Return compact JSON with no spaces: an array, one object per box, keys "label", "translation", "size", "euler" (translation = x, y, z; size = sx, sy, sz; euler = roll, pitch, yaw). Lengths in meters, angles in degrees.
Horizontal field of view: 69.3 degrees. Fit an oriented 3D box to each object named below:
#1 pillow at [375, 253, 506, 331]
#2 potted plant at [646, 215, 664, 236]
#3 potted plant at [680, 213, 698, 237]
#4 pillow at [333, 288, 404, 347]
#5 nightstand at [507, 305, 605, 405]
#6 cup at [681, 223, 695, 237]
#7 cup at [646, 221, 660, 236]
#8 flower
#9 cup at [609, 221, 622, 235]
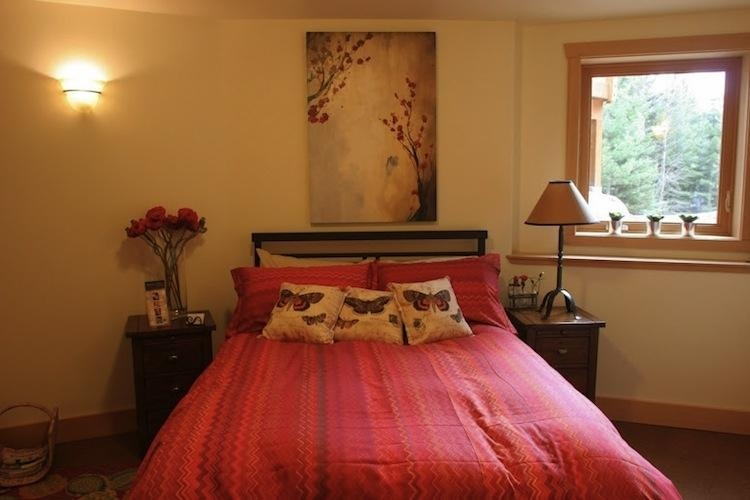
[{"label":"pillow","translation":[0.701,0.284,4.072],"size":[0.552,0.209,0.763],"euler":[3,26,9]},{"label":"potted plant","translation":[2.206,-0.204,4.304],"size":[0.145,0.145,0.147],"euler":[2,0,19]},{"label":"potted plant","translation":[2.456,-0.191,4.255],"size":[0.189,0.189,0.143],"euler":[0,0,13]},{"label":"pillow","translation":[-0.033,0.412,3.749],"size":[0.509,0.426,0.142],"euler":[-1,-30,4]},{"label":"nightstand","translation":[1.306,0.775,4.215],"size":[0.652,1.021,0.644],"euler":[-1,11,-1]},{"label":"cup","translation":[2.434,-0.161,4.264],"size":[0.106,0.105,0.098],"euler":[-1,4,0]},{"label":"cup","translation":[2.216,-0.167,4.360],"size":[0.100,0.110,0.100],"euler":[0,5,0]},{"label":"flower","translation":[-1.563,0.079,4.172],"size":[0.500,0.755,0.560],"euler":[-10,-6,38]},{"label":"cup","translation":[1.944,-0.178,4.380],"size":[0.104,0.112,0.099],"euler":[0,7,0]}]
